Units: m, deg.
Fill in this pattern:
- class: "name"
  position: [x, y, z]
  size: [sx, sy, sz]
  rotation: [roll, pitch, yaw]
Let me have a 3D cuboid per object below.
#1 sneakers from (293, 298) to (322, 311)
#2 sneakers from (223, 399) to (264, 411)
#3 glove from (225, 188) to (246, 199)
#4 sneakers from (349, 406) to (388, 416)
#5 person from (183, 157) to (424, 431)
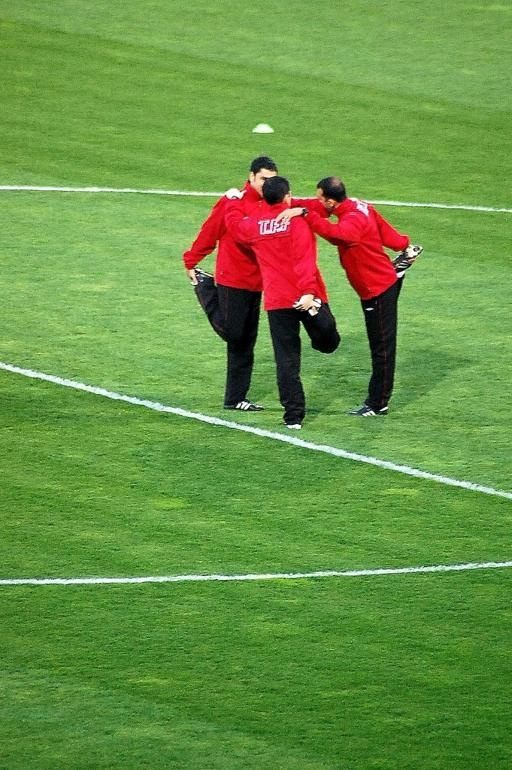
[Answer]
- class: "sneakers"
  position: [0.301, -0.455, 5.832]
  size: [0.162, 0.102, 0.102]
  rotation: [3, 8, -11]
- class: "sneakers"
  position: [-0.078, 0.131, 6.517]
  size: [0.241, 0.077, 0.081]
  rotation: [-1, 9, 2]
- class: "glove"
  position: [-0.130, -1.149, 6.223]
  size: [0.114, 0.065, 0.109]
  rotation: [0, 9, -33]
- class: "sneakers"
  position: [0.713, 0.167, 6.501]
  size: [0.244, 0.083, 0.076]
  rotation: [3, 0, -2]
- class: "person"
  position: [0.203, -0.560, 6.251]
  size: [1.384, 1.578, 0.736]
  rotation: [6, 9, 4]
